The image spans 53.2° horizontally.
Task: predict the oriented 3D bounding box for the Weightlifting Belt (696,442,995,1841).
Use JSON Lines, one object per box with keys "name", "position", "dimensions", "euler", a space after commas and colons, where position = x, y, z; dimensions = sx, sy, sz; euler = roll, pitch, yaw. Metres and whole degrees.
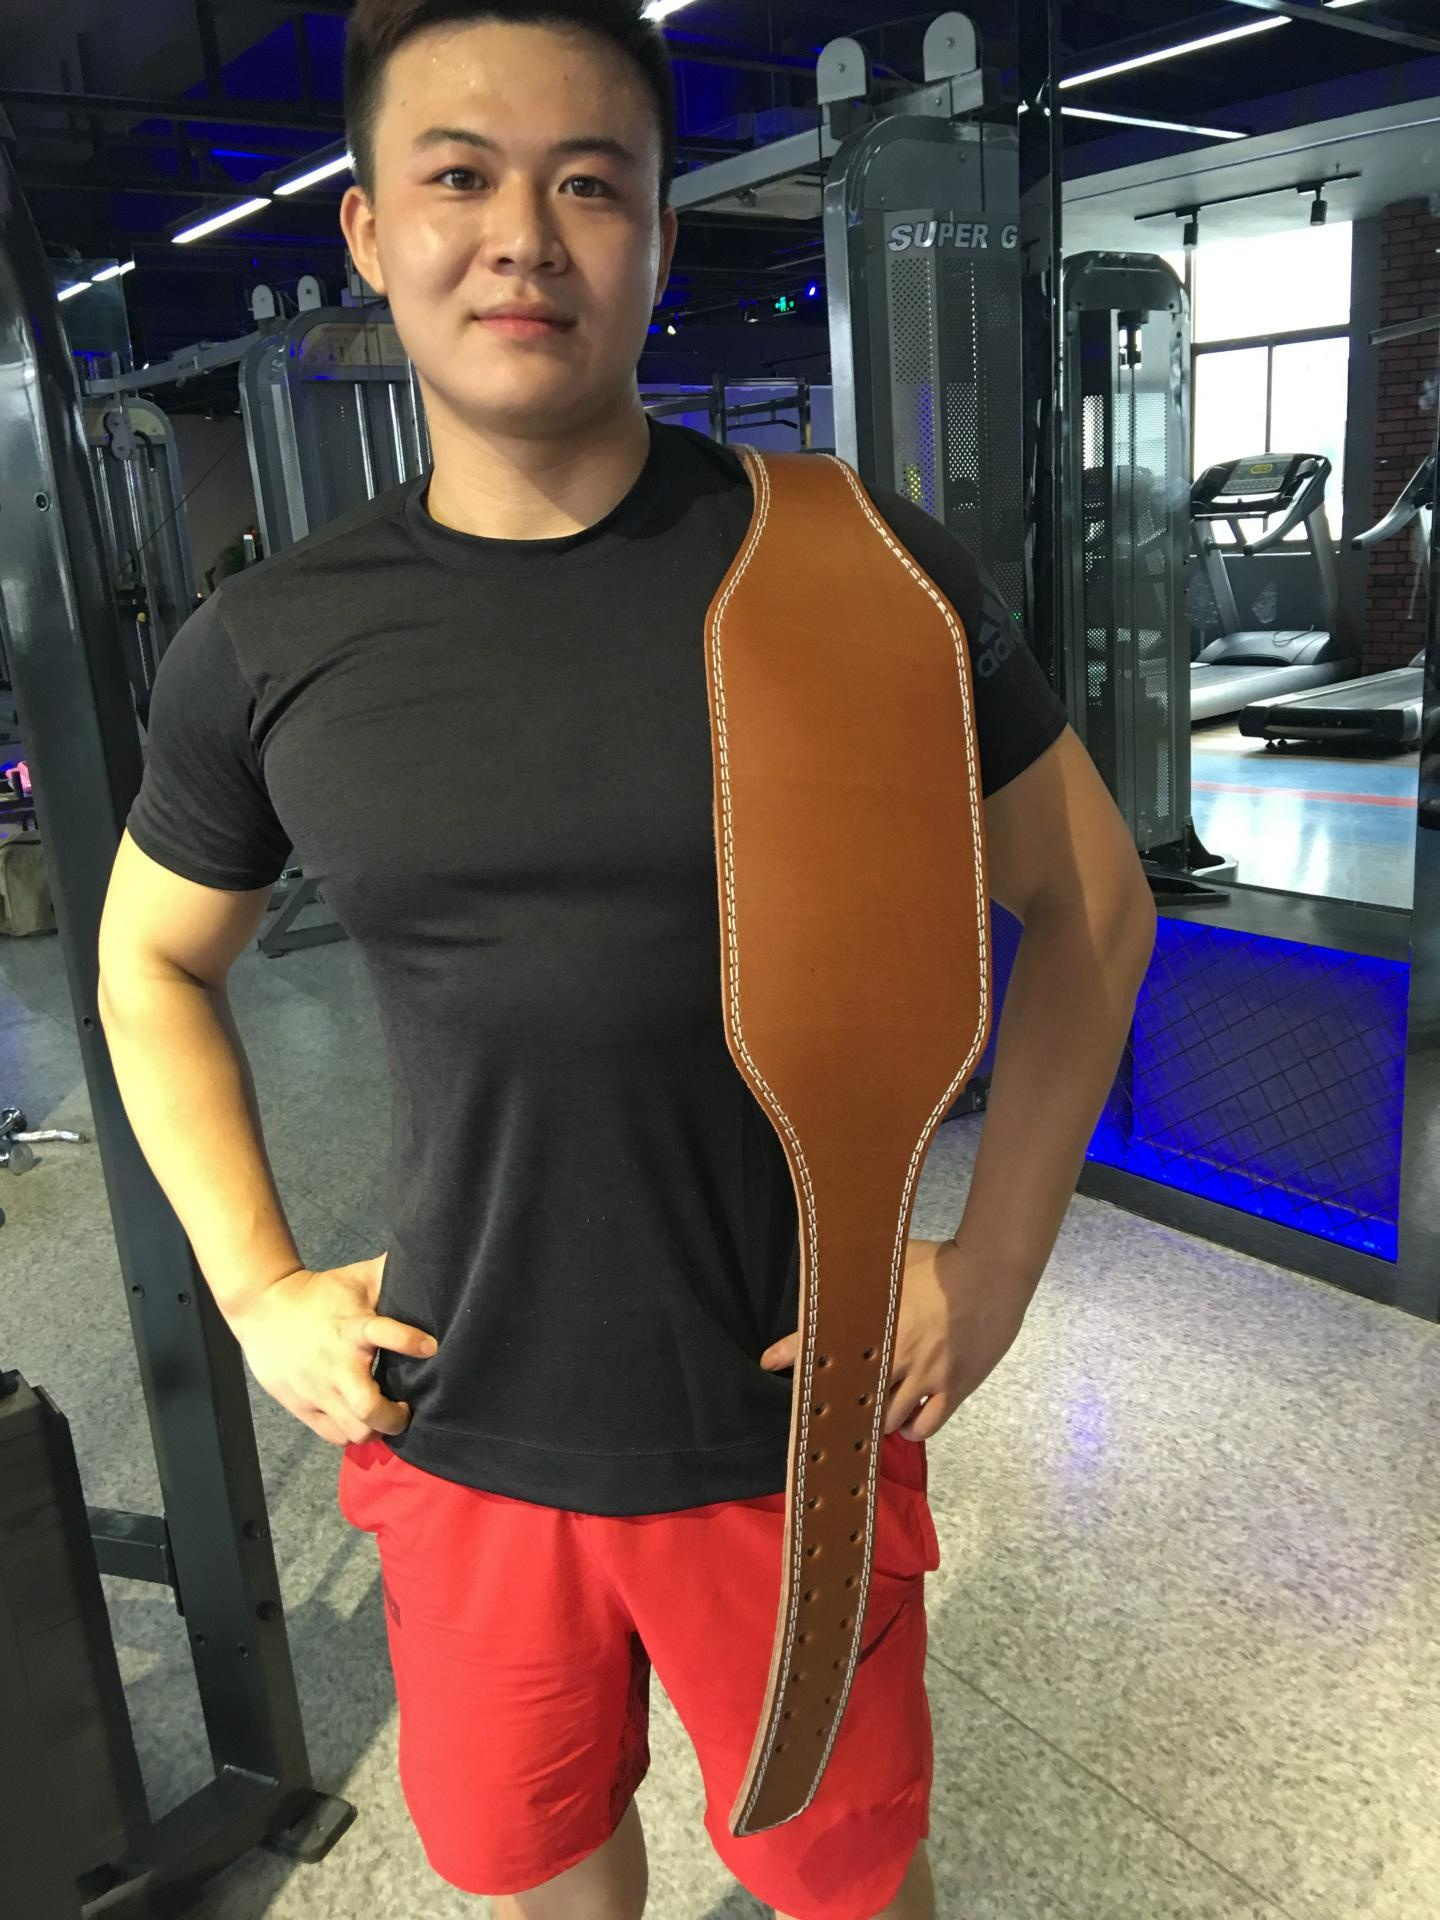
{"name": "Weightlifting Belt", "position": [0.066, 0.048, 0.682], "dimensions": [0.135, 0.658, 0.107], "euler": [0, -4, 6]}
